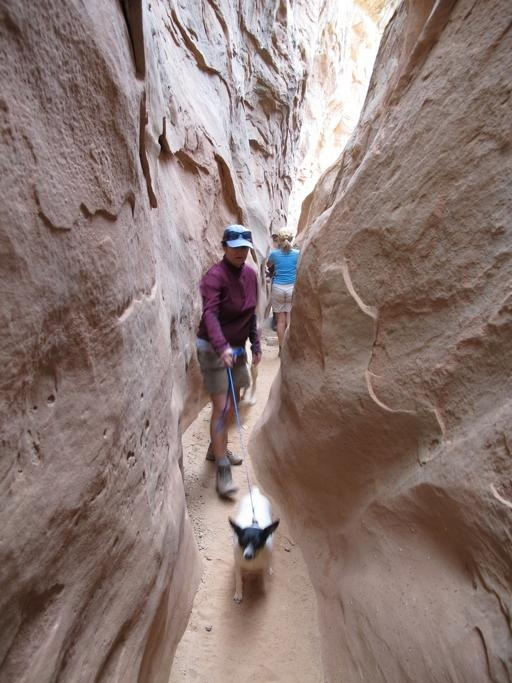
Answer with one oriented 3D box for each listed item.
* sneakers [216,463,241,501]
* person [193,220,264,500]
[{"bbox_3d":[-0.174,0.843,2.757,0.080,0.198,0.222,-1,-11,-3],"label":"sneakers"},{"bbox_3d":[-0.171,0.173,2.665,0.352,1.388,0.833,6,1,4],"label":"person"}]
